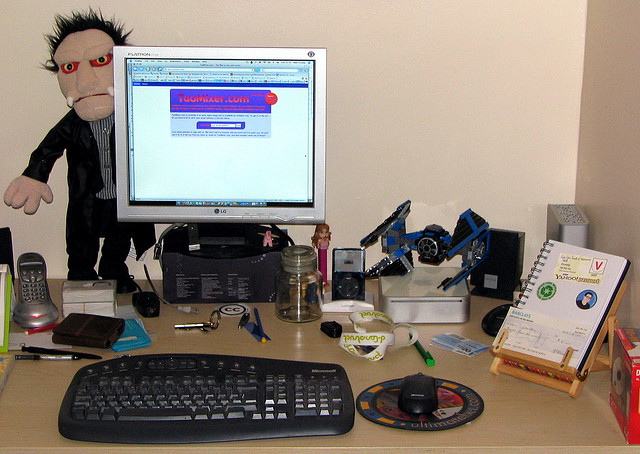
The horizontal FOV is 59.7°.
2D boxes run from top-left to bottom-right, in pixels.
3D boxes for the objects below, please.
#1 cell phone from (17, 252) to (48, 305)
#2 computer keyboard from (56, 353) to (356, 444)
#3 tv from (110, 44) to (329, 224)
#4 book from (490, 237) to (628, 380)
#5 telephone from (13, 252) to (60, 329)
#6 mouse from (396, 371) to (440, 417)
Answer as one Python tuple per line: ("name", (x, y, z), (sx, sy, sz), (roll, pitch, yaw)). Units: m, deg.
("cell phone", (-0.774, 0.138, 1.496), (0.069, 0.112, 0.110), (-7, 16, -27))
("computer keyboard", (-0.225, 0.348, 1.160), (0.590, 0.086, 0.212), (-1, 14, -2))
("tv", (-0.277, -0.260, 1.508), (0.497, 0.400, 0.036), (0, 8, -1))
("book", (0.548, 0.183, 1.274), (0.246, 0.329, 0.102), (18, -15, 39))
("telephone", (-0.758, 0.175, 1.475), (0.098, 0.200, 0.053), (-2, -28, -25))
("mouse", (0.210, 0.338, 1.183), (0.084, 0.044, 0.144), (-1, 9, 15))
